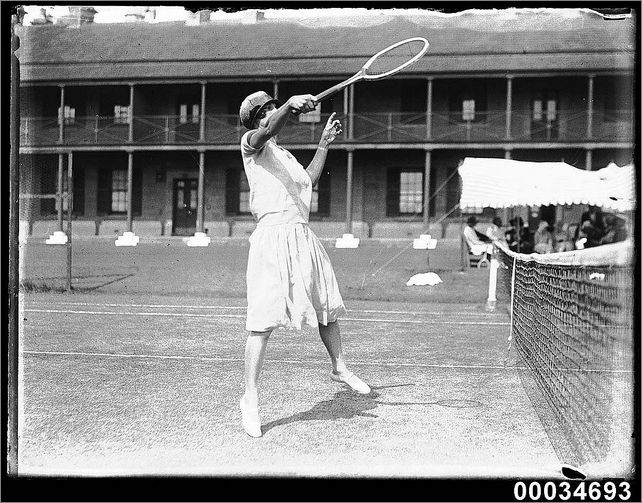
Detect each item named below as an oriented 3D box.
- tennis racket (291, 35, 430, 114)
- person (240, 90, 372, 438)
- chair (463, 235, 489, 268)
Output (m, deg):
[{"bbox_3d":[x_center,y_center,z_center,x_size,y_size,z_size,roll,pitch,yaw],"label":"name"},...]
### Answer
[{"bbox_3d":[0.478,-1.479,9.623,1.285,0.064,0.512,-25,23,-7],"label":"tennis racket"},{"bbox_3d":[-0.228,0.083,9.713,1.046,2.818,0.826,-4,9,-23],"label":"person"},{"bbox_3d":[2.477,0.006,18.674,0.481,0.634,0.503,-2,3,5],"label":"chair"}]
